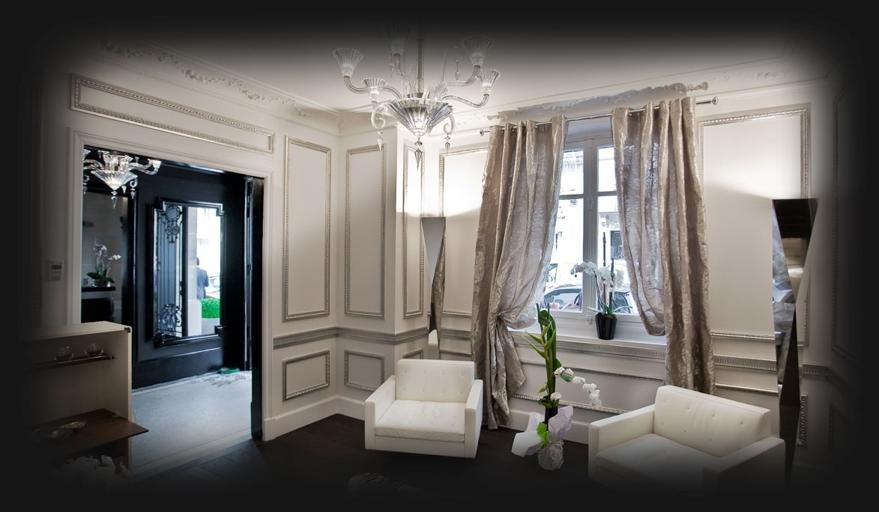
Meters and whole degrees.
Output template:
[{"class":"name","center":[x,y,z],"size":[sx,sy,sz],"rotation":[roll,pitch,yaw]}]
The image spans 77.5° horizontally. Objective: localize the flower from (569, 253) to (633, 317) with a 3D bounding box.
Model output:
[{"class":"flower","center":[1.446,0.304,4.921],"size":[0.450,0.460,0.422],"rotation":[-2,-14,6]}]

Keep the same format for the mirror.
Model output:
[{"class":"mirror","center":[-2.932,0.168,6.345],"size":[0.128,1.599,0.885],"rotation":[3,5,37]}]

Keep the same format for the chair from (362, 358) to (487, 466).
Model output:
[{"class":"chair","center":[-0.105,1.248,4.603],"size":[0.900,0.603,0.716],"rotation":[0,3,8]}]

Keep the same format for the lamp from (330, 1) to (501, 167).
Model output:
[{"class":"lamp","center":[-0.211,-1.117,3.834],"size":[0.990,0.871,1.096],"rotation":[0,-1,33]}]

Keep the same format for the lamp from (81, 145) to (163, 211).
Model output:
[{"class":"lamp","center":[-3.206,-0.780,5.511],"size":[0.654,0.524,0.808],"rotation":[-2,4,-31]}]

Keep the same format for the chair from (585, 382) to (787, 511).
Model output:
[{"class":"chair","center":[1.689,1.334,3.802],"size":[0.778,0.556,1.064],"rotation":[-8,4,-28]}]

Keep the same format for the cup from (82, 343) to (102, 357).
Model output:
[{"class":"cup","center":[-2.378,0.644,3.743],"size":[0.093,0.078,0.090],"rotation":[-1,-6,0]}]

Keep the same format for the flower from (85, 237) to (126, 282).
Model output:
[{"class":"flower","center":[-3.520,0.093,5.703],"size":[0.385,0.400,0.347],"rotation":[1,-3,-7]}]

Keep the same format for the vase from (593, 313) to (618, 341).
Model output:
[{"class":"vase","center":[1.463,0.623,4.806],"size":[0.241,0.234,0.236],"rotation":[3,-5,-2]}]

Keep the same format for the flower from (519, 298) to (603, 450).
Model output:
[{"class":"flower","center":[1.073,1.064,4.577],"size":[0.564,1.199,0.320],"rotation":[-3,-3,1]}]

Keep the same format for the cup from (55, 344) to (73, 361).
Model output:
[{"class":"cup","center":[-2.492,0.640,3.620],"size":[0.090,0.076,0.088],"rotation":[0,1,0]}]
